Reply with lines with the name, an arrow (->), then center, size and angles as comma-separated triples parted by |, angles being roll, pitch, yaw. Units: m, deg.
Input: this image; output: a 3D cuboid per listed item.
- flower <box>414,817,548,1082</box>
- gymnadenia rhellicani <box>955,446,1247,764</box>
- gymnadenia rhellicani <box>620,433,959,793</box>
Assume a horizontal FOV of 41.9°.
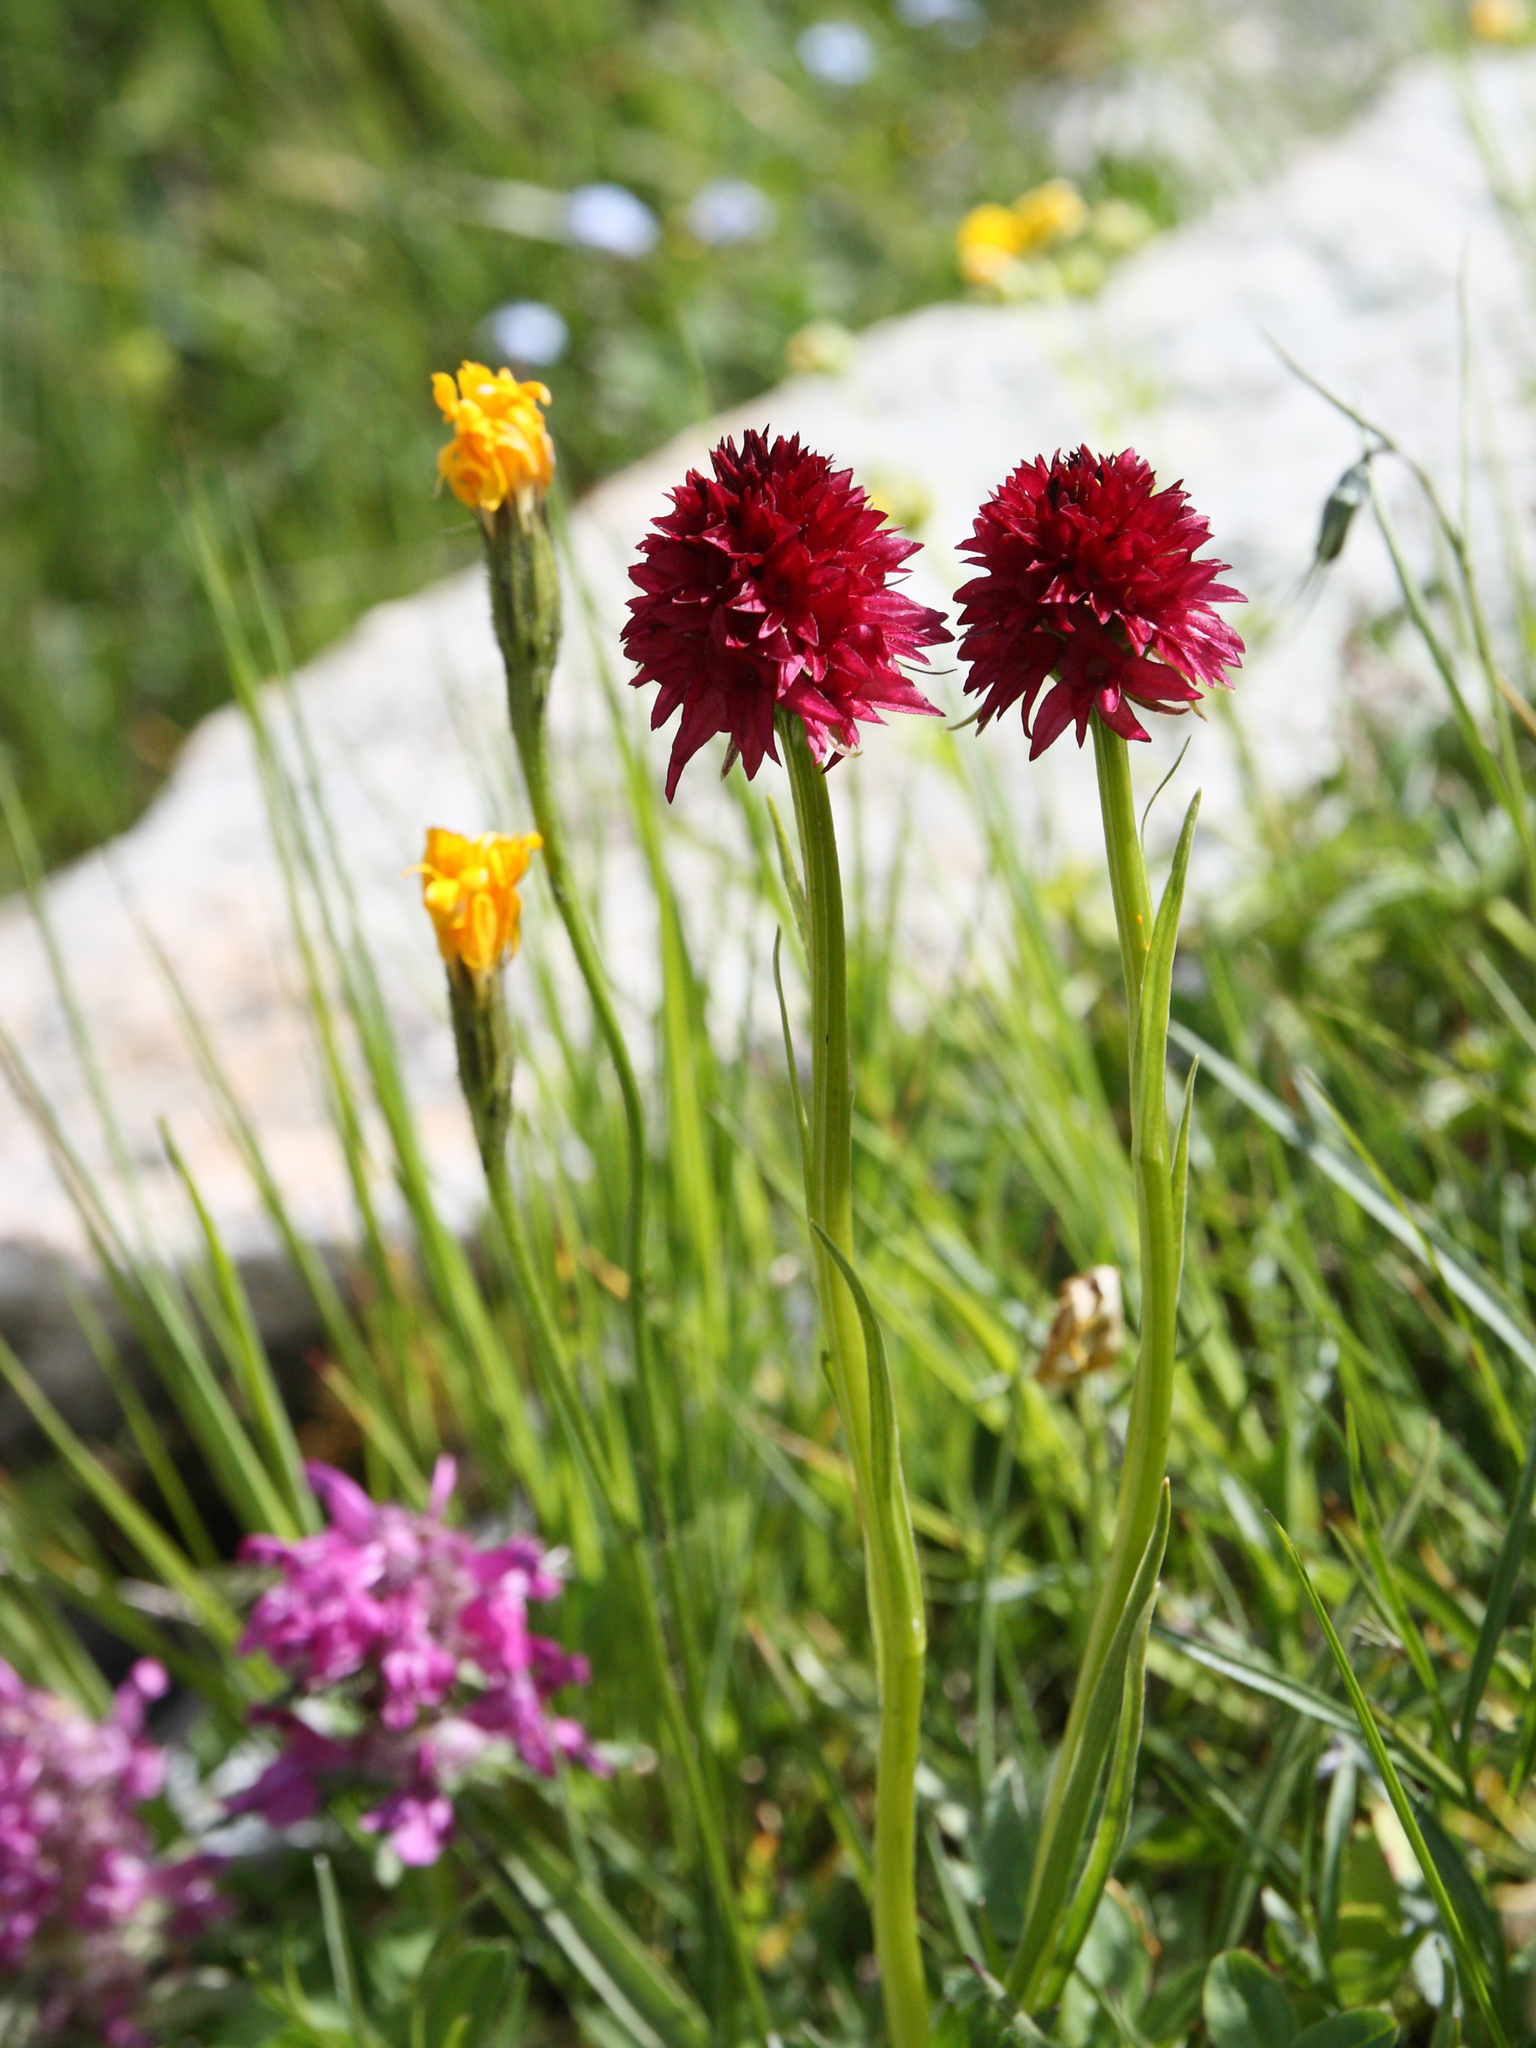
flower -> -0.096, -0.036, 0.695 | 0.045, 0.083, 0.097 | -15, 22, -5
gymnadenia rhellicani -> 0.099, -0.116, 0.614 | 0.091, 0.093, 0.090 | -2, 48, 14
gymnadenia rhellicani -> 0.003, -0.113, 0.607 | 0.101, 0.093, 0.102 | -9, 38, 10
